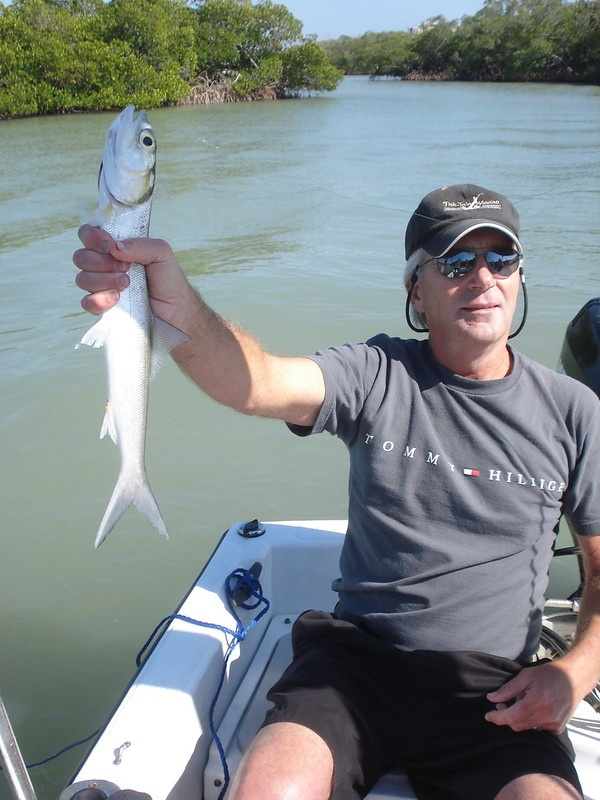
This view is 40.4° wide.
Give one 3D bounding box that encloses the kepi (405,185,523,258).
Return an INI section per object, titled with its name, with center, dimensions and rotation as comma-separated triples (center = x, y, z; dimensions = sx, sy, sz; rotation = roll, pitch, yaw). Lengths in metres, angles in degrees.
[kepi]
center = 0.535, -0.602, 2.693
dimensions = 0.266, 0.162, 0.330
rotation = -2, -12, 2

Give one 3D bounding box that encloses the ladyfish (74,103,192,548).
[ladyfish]
center = -0.461, -0.159, 2.181
dimensions = 0.368, 1.125, 0.274
rotation = 2, 10, -32

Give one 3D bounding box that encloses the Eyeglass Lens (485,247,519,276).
[Eyeglass Lens]
center = 0.663, -0.448, 2.660
dimensions = 0.105, 0.038, 0.099
rotation = -3, -2, -10
